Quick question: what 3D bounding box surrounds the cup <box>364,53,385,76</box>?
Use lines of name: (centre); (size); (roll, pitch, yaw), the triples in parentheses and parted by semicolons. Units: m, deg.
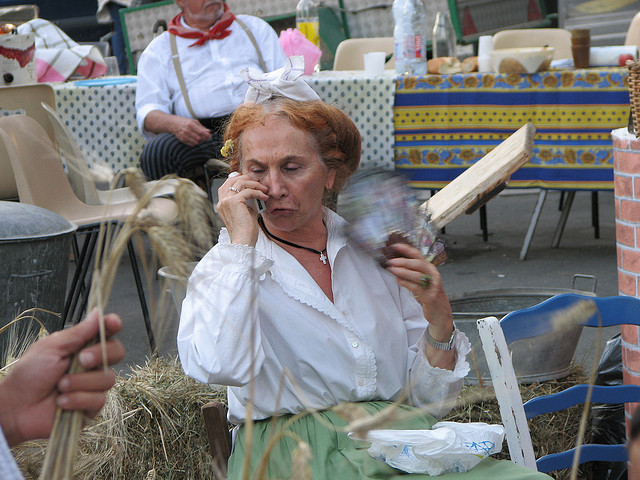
cup: (0.346, -1.112, 5.828); (0.129, 0.155, 0.133); (-2, 18, 1)

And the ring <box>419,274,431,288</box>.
ring: (0.371, 0.150, 3.306); (0.012, 0.039, 0.027); (-7, 32, -46)

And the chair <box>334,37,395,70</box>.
chair: (0.334, -1.381, 6.904); (0.460, 0.339, 0.354); (2, 23, 5)

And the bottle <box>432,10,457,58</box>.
bottle: (0.797, -1.327, 5.997); (0.141, 0.286, 0.288); (-4, 15, 7)

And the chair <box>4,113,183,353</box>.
chair: (-0.642, -0.036, 2.729); (0.319, 0.480, 0.287); (2, 2, -11)

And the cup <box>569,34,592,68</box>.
cup: (1.574, -1.133, 5.607); (0.121, 0.188, 0.120); (-4, 12, 1)

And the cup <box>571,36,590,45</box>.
cup: (1.551, -1.188, 5.538); (0.099, 0.047, 0.050); (-3, 15, 10)

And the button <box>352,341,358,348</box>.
button: (0.124, 0.380, 3.351); (0.016, 0.017, 0.004); (-1, -10, -5)

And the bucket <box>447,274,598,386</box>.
bucket: (0.869, 0.420, 4.202); (0.547, 0.363, 0.584); (-1, -1, 0)

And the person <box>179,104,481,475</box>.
person: (-0.084, 0.191, 3.266); (0.928, 1.274, 1.062); (8, 19, 41)

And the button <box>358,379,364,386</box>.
button: (0.143, 0.517, 3.355); (0.016, 0.021, 0.007); (-3, -7, -3)

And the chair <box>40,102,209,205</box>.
chair: (-1.026, -0.481, 4.908); (0.796, 0.628, 0.568); (-10, 9, -3)

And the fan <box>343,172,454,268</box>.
fan: (0.269, -0.067, 3.395); (0.380, 0.400, 0.309); (-5, 14, 1)
